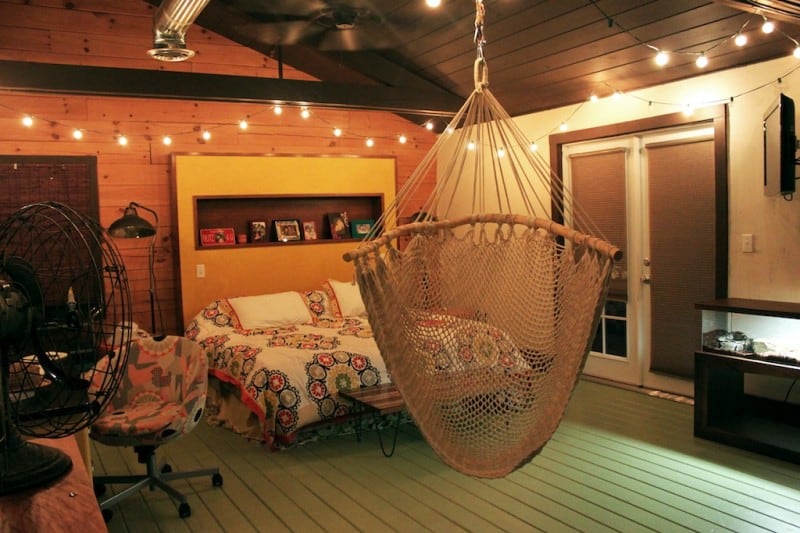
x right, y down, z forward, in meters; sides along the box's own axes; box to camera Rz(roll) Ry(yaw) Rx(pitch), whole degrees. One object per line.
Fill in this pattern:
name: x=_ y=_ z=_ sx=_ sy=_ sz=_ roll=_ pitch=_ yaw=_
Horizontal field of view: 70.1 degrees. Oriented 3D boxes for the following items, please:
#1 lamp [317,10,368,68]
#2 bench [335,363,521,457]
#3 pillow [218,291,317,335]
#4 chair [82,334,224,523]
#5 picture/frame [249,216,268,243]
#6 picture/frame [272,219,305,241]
lamp: x=-0.490 y=-2.018 z=5.058 sx=0.319 sy=0.319 sz=0.332 roll=-7 pitch=18 yaw=-3
bench: x=-0.034 y=1.060 z=4.458 sx=0.824 sy=0.457 sz=0.803 roll=-2 pitch=2 yaw=-38
pillow: x=-1.304 y=0.449 z=5.835 sx=0.806 sy=0.283 sz=0.366 roll=-7 pitch=12 yaw=-28
chair: x=-1.632 y=1.054 z=4.082 sx=1.139 sy=1.234 sz=1.072 roll=0 pitch=-2 yaw=6
picture/frame: x=-1.604 y=-0.409 z=6.427 sx=0.290 sy=0.204 sz=0.029 roll=-17 pitch=10 yaw=-43
picture/frame: x=-1.296 y=-0.408 z=6.556 sx=0.270 sy=0.245 sz=0.090 roll=-1 pitch=-9 yaw=-28
